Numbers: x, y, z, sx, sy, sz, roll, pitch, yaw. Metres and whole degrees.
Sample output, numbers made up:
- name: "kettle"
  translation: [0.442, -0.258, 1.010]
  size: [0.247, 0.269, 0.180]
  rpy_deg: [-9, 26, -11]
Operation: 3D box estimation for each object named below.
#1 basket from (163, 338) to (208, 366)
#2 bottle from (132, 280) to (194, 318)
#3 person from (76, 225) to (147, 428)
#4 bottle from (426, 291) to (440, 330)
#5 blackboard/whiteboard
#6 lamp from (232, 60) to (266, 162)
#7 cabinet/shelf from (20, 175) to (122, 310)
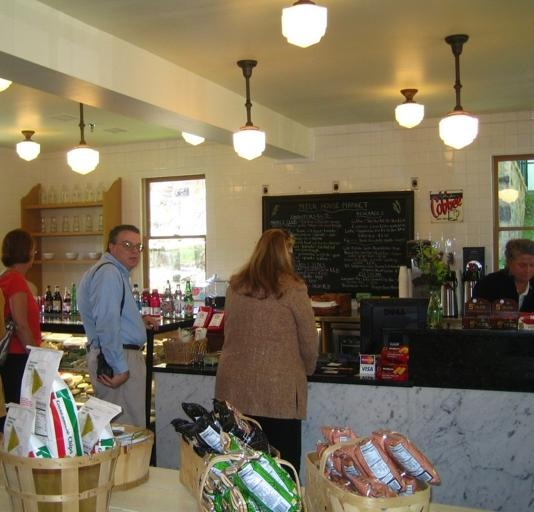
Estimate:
- name: "basket"
  translation: [-0.519, 0.600, 3.189]
  size: [0.159, 0.122, 0.237]
  rpy_deg: [0, -4, 15]
- name: "bottle"
  translation: [-0.982, 0.425, 4.722]
  size: [0.435, 0.340, 0.436]
  rpy_deg: [-1, -1, 0]
- name: "person"
  translation: [-0.889, 0.433, 2.932]
  size: [0.377, 1.037, 0.423]
  rpy_deg: [-2, 1, -28]
- name: "bottle"
  translation: [1.036, 0.332, 3.111]
  size: [0.079, 0.212, 0.212]
  rpy_deg: [-1, 1, 26]
- name: "blackboard/whiteboard"
  translation: [0.869, -0.133, 5.280]
  size: [1.179, 0.914, 0.055]
  rpy_deg: [0, 0, 18]
- name: "lamp"
  translation: [-0.159, -1.158, 4.259]
  size: [0.265, 0.554, 0.786]
  rpy_deg: [-1, 1, -3]
- name: "cabinet/shelf"
  translation: [-2.318, -0.260, 5.917]
  size: [1.603, 1.984, 0.498]
  rpy_deg: [0, -1, 11]
